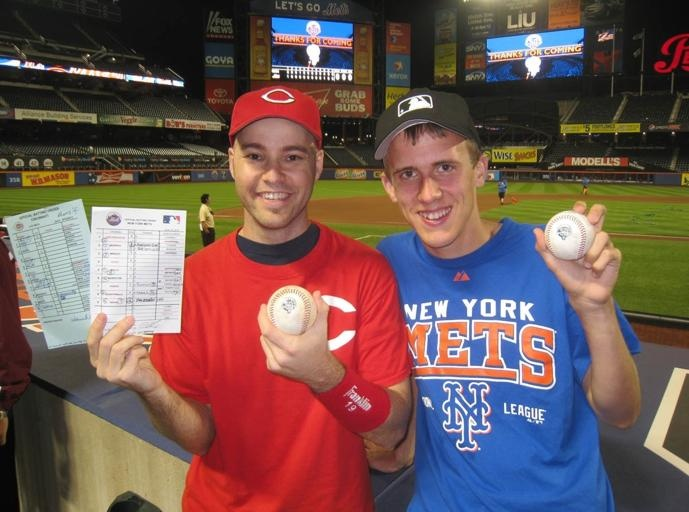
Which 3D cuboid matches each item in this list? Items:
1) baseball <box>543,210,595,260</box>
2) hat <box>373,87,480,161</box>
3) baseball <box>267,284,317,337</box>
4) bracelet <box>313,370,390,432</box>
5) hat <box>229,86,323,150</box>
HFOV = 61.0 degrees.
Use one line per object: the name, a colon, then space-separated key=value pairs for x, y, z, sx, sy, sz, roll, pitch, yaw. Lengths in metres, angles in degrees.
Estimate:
baseball: x=1.024 y=-0.120 z=2.744 sx=0.218 sy=0.227 sz=0.270 roll=4 pitch=10 yaw=21
hat: x=0.427 y=-0.744 z=3.174 sx=0.534 sy=0.361 sz=0.691 roll=-7 pitch=-4 yaw=-4
baseball: x=-0.234 y=0.241 z=2.642 sx=0.205 sy=0.206 sz=0.113 roll=40 pitch=-1 yaw=4
bracelet: x=0.036 y=0.661 z=2.725 sx=0.247 sy=0.331 sz=0.098 roll=-44 pitch=10 yaw=-16
hat: x=-0.337 y=-0.791 z=3.136 sx=0.519 sy=0.285 sz=0.532 roll=3 pitch=14 yaw=1
